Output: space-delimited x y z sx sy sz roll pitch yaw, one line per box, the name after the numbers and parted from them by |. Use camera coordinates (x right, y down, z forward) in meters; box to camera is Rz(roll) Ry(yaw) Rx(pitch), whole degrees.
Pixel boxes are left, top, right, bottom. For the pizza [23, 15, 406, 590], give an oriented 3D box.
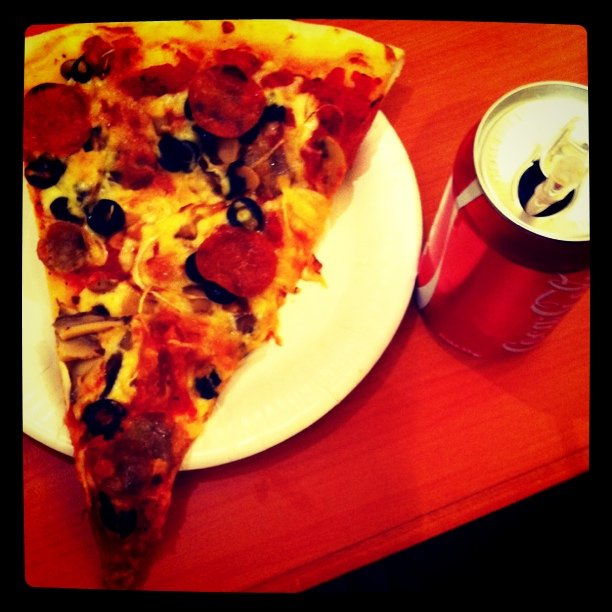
-0.140 -0.026 0.762 0.477 0.076 0.654 1 67 7 | pizza

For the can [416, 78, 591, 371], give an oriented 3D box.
0.206 -0.084 0.758 0.164 0.260 0.164 0 37 0 | can

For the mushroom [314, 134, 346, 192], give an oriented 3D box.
0.026 -0.155 0.781 0.035 0.051 0.030 -3 37 -3 | mushroom

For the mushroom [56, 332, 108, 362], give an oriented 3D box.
-0.242 0.043 0.776 0.053 0.031 0.014 -10 -2 6 | mushroom

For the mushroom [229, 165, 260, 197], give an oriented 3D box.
-0.065 -0.134 0.773 0.029 0.025 0.019 23 43 28 | mushroom

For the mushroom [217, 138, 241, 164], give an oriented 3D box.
-0.081 -0.165 0.771 0.025 0.022 0.013 -4 37 -4 | mushroom
